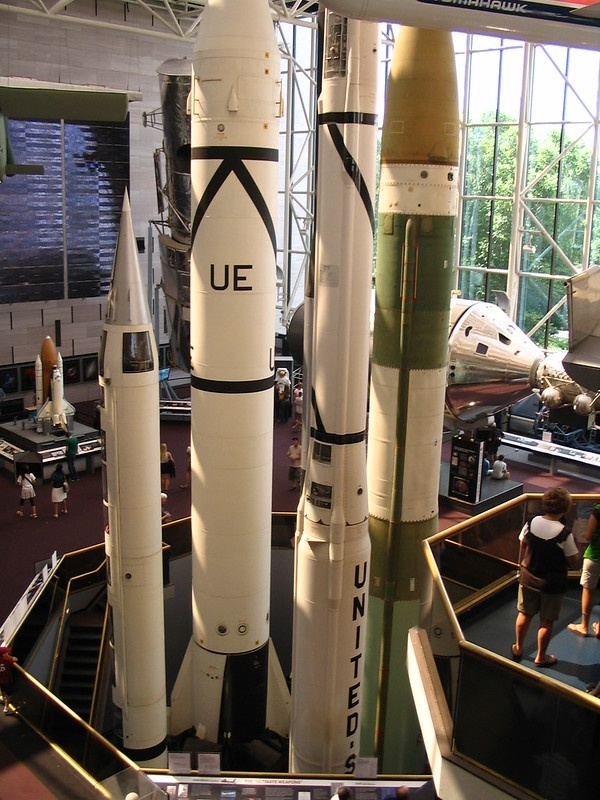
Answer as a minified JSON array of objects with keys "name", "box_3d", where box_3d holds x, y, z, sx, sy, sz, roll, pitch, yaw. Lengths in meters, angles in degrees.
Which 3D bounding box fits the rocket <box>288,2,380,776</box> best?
[{"name":"rocket","box_3d":[0.304,0.336,6.870,0.779,7.587,0.584,1,10,5]}]

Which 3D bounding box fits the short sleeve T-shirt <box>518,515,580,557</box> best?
[{"name":"short sleeve T-shirt","box_3d":[1.847,1.009,5.205,0.162,0.245,0.346,-13,21,-40]}]

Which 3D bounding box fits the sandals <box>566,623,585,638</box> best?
[{"name":"sandals","box_3d":[2.203,1.834,5.625,0.086,0.060,0.159,-7,12,-33]}]

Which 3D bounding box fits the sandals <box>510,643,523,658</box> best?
[{"name":"sandals","box_3d":[1.634,1.901,5.312,0.081,0.104,0.128,3,11,17]}]

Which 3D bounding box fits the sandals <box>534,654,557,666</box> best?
[{"name":"sandals","box_3d":[1.791,1.915,5.194,0.161,0.117,0.063,1,-7,4]}]

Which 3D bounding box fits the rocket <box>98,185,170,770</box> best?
[{"name":"rocket","box_3d":[-1.787,1.053,7.518,0.616,6.316,0.450,-2,10,-13]}]
